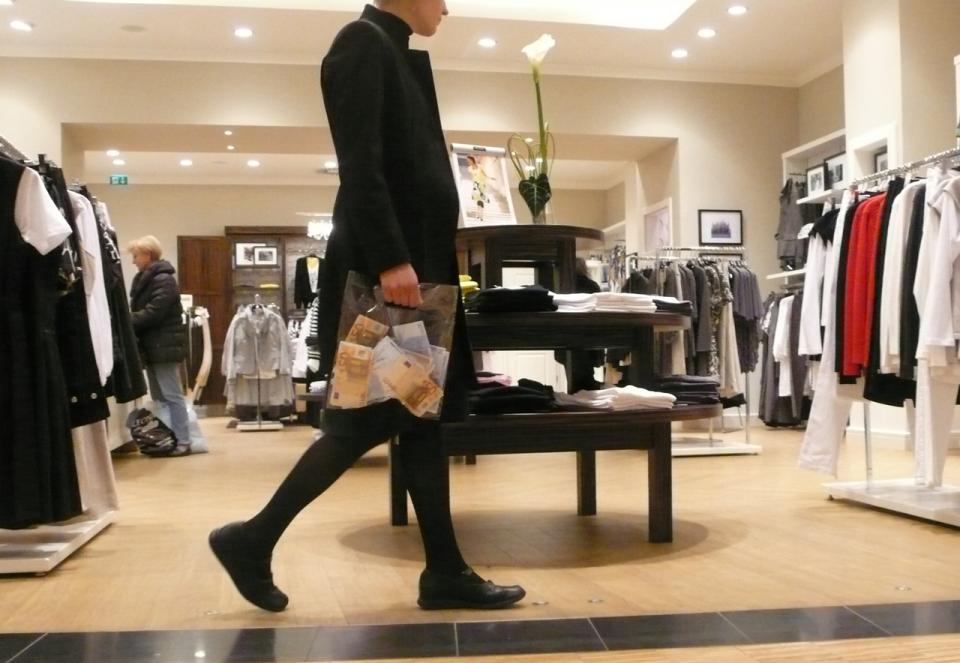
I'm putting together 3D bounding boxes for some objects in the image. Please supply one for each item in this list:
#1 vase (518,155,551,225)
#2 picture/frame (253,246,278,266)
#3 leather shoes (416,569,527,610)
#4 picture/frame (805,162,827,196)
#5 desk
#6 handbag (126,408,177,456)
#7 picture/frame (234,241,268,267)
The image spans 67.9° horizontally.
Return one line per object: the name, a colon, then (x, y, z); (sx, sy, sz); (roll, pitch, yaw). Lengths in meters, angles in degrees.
vase: (0.254, -0.728, 3.542); (0.183, 0.298, 0.438); (1, 25, 12)
picture/frame: (-3.255, -1.135, 10.755); (0.302, 0.259, 0.024); (1, -7, -7)
leather shoes: (-0.035, 0.811, 2.315); (0.361, 0.147, 0.130); (-1, -5, -4)
picture/frame: (3.298, -1.494, 7.015); (0.115, 0.303, 0.465); (0, 2, 16)
desk: (0.278, 0.157, 3.362); (1.606, 1.372, 1.475); (3, -4, -20)
handbag: (-2.674, 0.815, 5.820); (0.366, 0.384, 0.155); (-2, 2, -23)
picture/frame: (-3.472, -1.160, 10.762); (0.404, 0.268, 0.032); (1, -8, -4)
